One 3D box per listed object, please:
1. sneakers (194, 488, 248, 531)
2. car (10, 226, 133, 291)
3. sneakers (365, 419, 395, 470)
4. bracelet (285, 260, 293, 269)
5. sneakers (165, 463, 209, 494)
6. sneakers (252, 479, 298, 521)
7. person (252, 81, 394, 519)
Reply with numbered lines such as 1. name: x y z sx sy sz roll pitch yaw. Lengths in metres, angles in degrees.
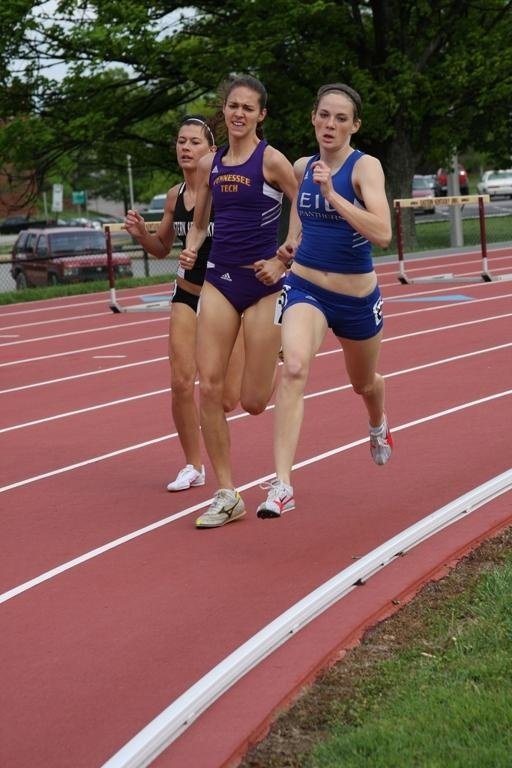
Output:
1. sneakers: -0.190 0.713 3.688 0.131 0.182 0.379 4 10 41
2. car: -7.108 -4.327 22.448 2.299 1.943 3.640 -9 8 -39
3. sneakers: 0.831 0.429 4.276 0.127 0.385 0.165 1 23 23
4. bracelet: 0.186 -0.685 3.655 0.042 0.048 0.057 -1 12 16
5. sneakers: -0.474 0.665 4.430 0.115 0.160 0.329 -2 2 36
6. sneakers: 0.082 0.534 3.025 0.114 0.172 0.297 -4 4 28
7. person: 0.372 -0.469 3.407 0.712 1.959 1.292 -4 1 12
